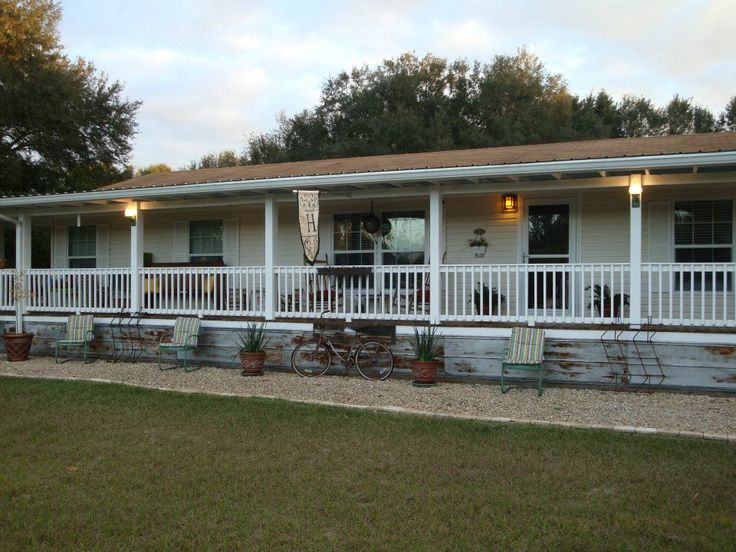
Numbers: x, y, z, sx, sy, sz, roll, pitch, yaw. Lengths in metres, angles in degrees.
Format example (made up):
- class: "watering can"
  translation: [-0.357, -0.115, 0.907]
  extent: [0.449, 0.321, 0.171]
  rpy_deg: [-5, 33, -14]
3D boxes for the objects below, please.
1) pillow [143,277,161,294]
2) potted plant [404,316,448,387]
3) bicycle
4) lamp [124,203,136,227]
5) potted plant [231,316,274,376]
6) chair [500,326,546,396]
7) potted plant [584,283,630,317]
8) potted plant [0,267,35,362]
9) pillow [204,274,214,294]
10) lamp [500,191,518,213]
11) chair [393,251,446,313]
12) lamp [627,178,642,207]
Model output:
- class: "pillow"
  translation: [-4.692, 0.203, 14.887]
  extent: [0.318, 0.325, 0.173]
  rpy_deg: [-6, -7, 32]
- class: "potted plant"
  translation: [1.037, 1.402, 12.146]
  extent: [0.606, 0.931, 0.909]
  rpy_deg: [1, 13, 3]
- class: "bicycle"
  translation: [-0.399, 1.470, 13.087]
  extent: [1.746, 1.128, 0.880]
  rpy_deg: [4, -6, 15]
- class: "lamp"
  translation: [-5.086, -1.354, 14.798]
  extent: [0.301, 0.498, 0.179]
  rpy_deg: [4, 13, 19]
- class: "potted plant"
  translation: [-2.172, 1.376, 13.079]
  extent: [0.551, 0.969, 0.899]
  rpy_deg: [-2, 13, -10]
- class: "chair"
  translation: [2.607, 1.427, 11.587]
  extent: [0.731, 1.064, 0.902]
  rpy_deg: [3, 13, 12]
- class: "potted plant"
  translation: [4.435, 0.496, 12.810]
  extent: [0.802, 0.579, 0.827]
  rpy_deg: [0, -5, 1]
- class: "potted plant"
  translation: [-7.690, 0.900, 15.022]
  extent: [0.586, 1.793, 1.835]
  rpy_deg: [-6, 14, -26]
- class: "pillow"
  translation: [-3.488, 0.160, 15.054]
  extent: [0.096, 0.237, 0.400]
  rpy_deg: [-5, -8, -30]
- class: "lamp"
  translation: [2.997, -1.547, 14.554]
  extent: [0.357, 0.413, 0.141]
  rpy_deg: [3, 13, 13]
- class: "chair"
  translation: [0.984, 0.189, 13.564]
  extent: [0.995, 0.970, 2.591]
  rpy_deg: [1, 13, 6]
- class: "lamp"
  translation: [4.539, -1.438, 11.673]
  extent: [0.196, 0.522, 0.257]
  rpy_deg: [4, 13, 16]
